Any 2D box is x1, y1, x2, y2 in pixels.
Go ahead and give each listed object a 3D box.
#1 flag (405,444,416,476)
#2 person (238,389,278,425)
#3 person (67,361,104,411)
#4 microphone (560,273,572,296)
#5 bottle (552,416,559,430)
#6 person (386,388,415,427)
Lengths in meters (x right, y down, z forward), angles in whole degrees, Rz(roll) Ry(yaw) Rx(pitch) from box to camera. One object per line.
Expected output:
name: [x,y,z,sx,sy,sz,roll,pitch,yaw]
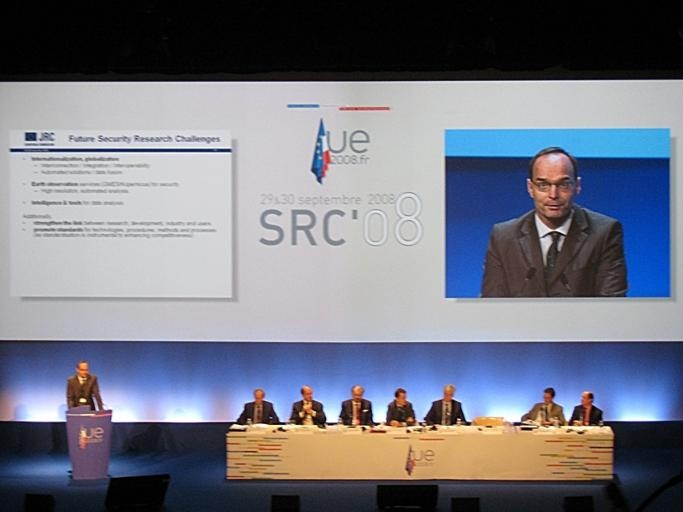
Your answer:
flag: [0.800,2.406,10.827,0.135,0.361,0.063,0,-6,2]
person: [-1.035,1.950,11.540,0.580,0.718,0.391,0,-11,-5]
person: [-3.211,1.652,11.315,0.414,0.714,0.458,-2,-17,-14]
microphone: [2.847,0.363,11.622,0.055,0.228,0.163,-12,-12,-13]
bottle: [2.619,2.041,11.203,0.074,0.074,0.129,-2,6,10]
person: [0.726,1.855,11.367,0.361,0.423,0.711,0,-5,3]
